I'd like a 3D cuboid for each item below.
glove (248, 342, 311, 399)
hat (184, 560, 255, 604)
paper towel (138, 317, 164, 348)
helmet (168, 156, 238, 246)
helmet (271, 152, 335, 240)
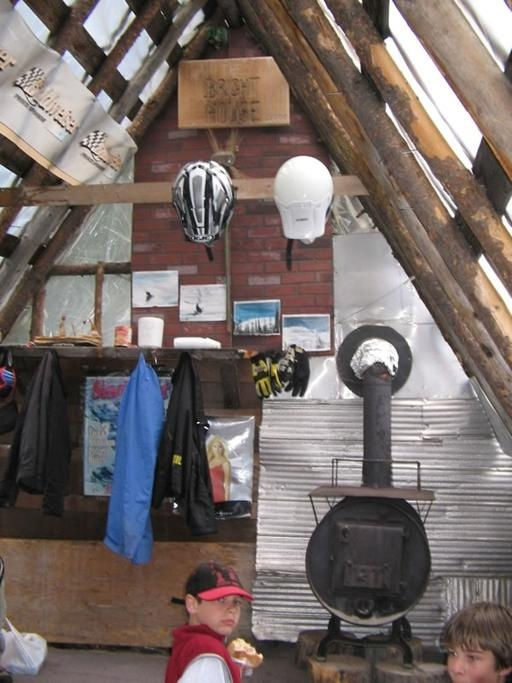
[{"bbox_3d":[0.127,0.173,4.234,0.333,0.290,0.135,-1,-5,13],"label":"glove"},{"bbox_3d":[-0.131,0.791,2.496,0.174,0.093,0.122,-23,-31,32],"label":"hat"},{"bbox_3d":[-0.592,-0.045,4.209,0.130,0.174,0.136,2,0,-12],"label":"paper towel"},{"bbox_3d":[-0.262,-0.707,4.010,0.372,0.374,0.412,3,-31,1],"label":"helmet"},{"bbox_3d":[0.266,-0.746,4.009,0.371,0.392,0.430,0,-29,7],"label":"helmet"}]
